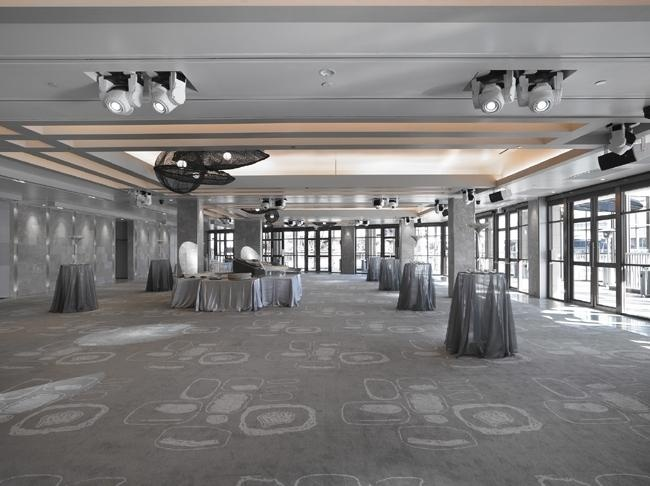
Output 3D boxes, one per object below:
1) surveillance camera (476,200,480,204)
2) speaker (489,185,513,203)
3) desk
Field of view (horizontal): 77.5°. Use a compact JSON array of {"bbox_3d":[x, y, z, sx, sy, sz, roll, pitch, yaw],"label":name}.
[{"bbox_3d":[4.601,-1.243,12.120,0.145,0.092,0.102,-1,-3,-6],"label":"surveillance camera"},{"bbox_3d":[4.641,-1.297,10.561,0.422,0.280,0.427,5,-12,-33],"label":"speaker"},{"bbox_3d":[-2.236,1.249,10.561,3.296,0.876,1.521,1,-3,-20],"label":"desk"}]
